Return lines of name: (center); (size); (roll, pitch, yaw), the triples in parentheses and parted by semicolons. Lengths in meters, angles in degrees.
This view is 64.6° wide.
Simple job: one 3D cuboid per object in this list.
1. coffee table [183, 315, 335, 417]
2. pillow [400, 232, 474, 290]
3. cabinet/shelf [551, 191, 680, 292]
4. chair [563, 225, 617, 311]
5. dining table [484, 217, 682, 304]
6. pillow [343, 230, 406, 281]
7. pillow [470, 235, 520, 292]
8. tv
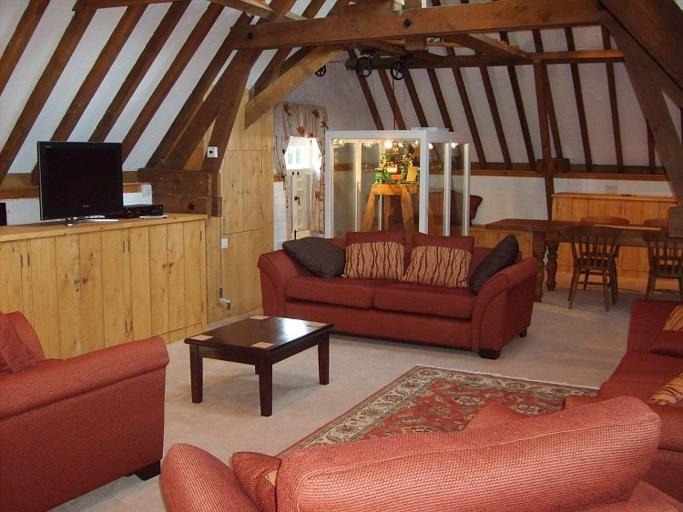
coffee table: (-0.662, 0.860, 4.543); (0.920, 0.445, 1.123); (5, 8, 36)
pillow: (1.067, -0.011, 5.941); (0.791, 0.644, 0.191); (17, 0, -11)
cabinet/shelf: (3.999, -0.159, 7.837); (1.834, 1.410, 0.647); (0, -1, 25)
chair: (3.524, 0.063, 7.542); (0.661, 1.082, 1.585); (4, 11, 26)
dining table: (3.392, 0.273, 7.693); (2.462, 0.998, 1.237); (6, 14, 28)
pillow: (0.400, -0.003, 6.251); (0.724, 0.531, 0.298); (0, 8, 23)
pillow: (1.532, 0.084, 5.436); (0.469, 0.575, 0.557); (1, 10, 14)
tv: (-2.463, -0.717, 5.119); (0.090, 0.712, 0.912); (11, 14, 25)
